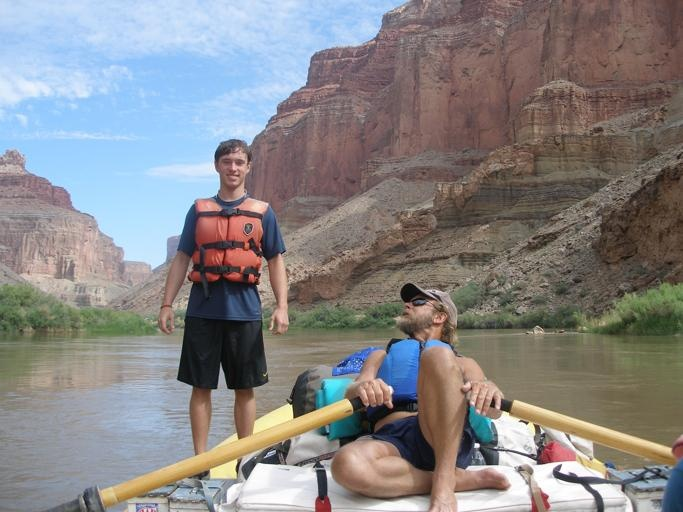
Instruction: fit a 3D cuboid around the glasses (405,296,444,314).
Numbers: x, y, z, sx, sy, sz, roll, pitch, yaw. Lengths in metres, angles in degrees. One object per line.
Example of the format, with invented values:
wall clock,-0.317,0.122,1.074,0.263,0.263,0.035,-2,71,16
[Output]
glasses,0.615,0.348,5.616,0.143,0.044,0.177,-7,-38,41
